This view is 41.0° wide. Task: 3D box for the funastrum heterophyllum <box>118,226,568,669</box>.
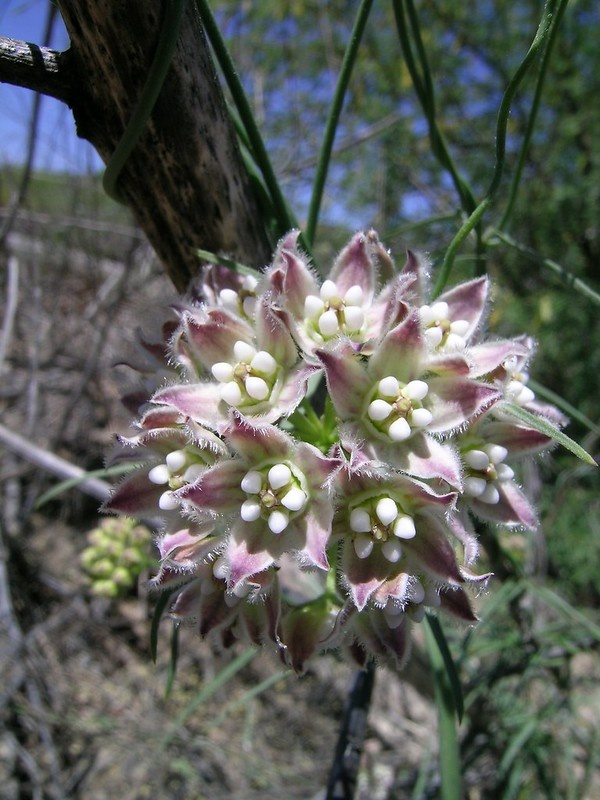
[{"bbox_3d":[0.097,0.210,2.185,1.171,1.270,0.752,7,24,-2],"label":"funastrum heterophyllum"}]
